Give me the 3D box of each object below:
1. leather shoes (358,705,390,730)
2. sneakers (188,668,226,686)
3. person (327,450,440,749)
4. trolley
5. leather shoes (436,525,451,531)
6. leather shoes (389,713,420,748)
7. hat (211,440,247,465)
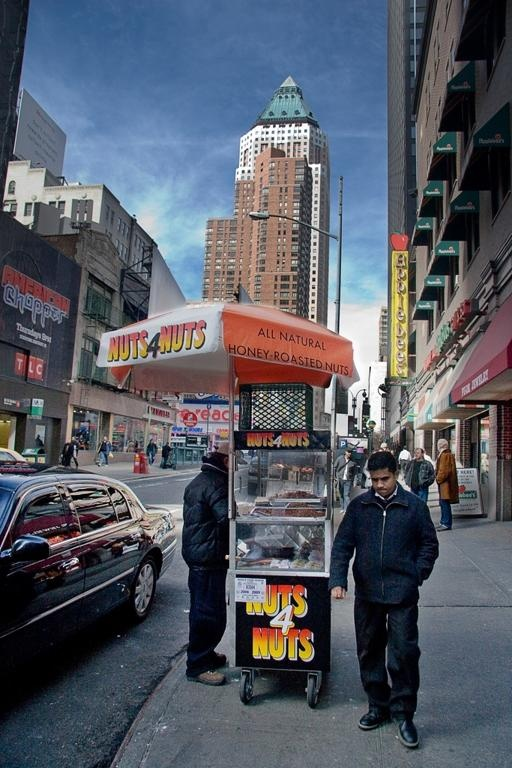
[{"bbox_3d":[0.670,1.857,3.246,0.075,0.108,0.232,-9,-16,37],"label":"leather shoes"},{"bbox_3d":[-0.320,1.982,3.875,0.210,0.109,0.102,0,-6,7],"label":"sneakers"},{"bbox_3d":[0.722,1.149,3.277,0.619,1.532,0.421,-3,-8,17],"label":"person"},{"bbox_3d":[0.185,1.184,3.995,0.697,1.736,0.912,-1,-7,3],"label":"trolley"},{"bbox_3d":[3.905,2.955,11.910,0.268,0.132,0.105,1,-6,-10],"label":"leather shoes"},{"bbox_3d":[0.806,1.820,3.057,0.124,0.119,0.223,-1,-8,4],"label":"leather shoes"},{"bbox_3d":[-0.173,0.498,4.245,0.197,0.233,0.076,6,18,31],"label":"hat"}]
